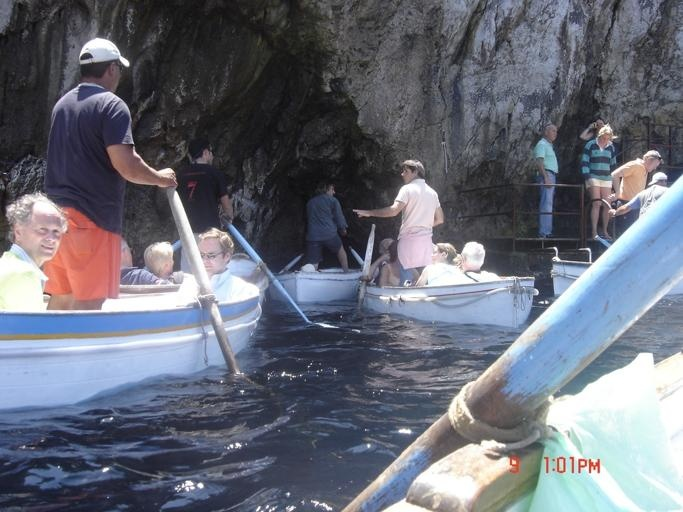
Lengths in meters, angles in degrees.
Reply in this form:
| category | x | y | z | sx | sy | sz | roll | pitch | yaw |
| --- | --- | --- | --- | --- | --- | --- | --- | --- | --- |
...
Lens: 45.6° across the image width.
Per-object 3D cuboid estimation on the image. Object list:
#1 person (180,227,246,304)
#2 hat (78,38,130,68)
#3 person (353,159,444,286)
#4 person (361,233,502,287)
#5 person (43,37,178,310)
| category | x | y | z | sx | sy | sz | roll | pitch | yaw |
| --- | --- | --- | --- | --- | --- | --- | --- | --- | --- |
| person | -1.281 | 0.110 | 8.315 | 0.751 | 0.760 | 0.395 | 7 | 14 | 31 |
| hat | -2.124 | -1.793 | 7.281 | 0.280 | 0.236 | 0.384 | 18 | 26 | 35 |
| person | 0.902 | -0.586 | 12.600 | 1.505 | 2.420 | 0.819 | -13 | 26 | -26 |
| person | 1.312 | 0.082 | 10.262 | 0.942 | 0.407 | 0.522 | -11 | -10 | 38 |
| person | -2.230 | -0.412 | 7.432 | 0.923 | 3.027 | 0.854 | 10 | 8 | 39 |
